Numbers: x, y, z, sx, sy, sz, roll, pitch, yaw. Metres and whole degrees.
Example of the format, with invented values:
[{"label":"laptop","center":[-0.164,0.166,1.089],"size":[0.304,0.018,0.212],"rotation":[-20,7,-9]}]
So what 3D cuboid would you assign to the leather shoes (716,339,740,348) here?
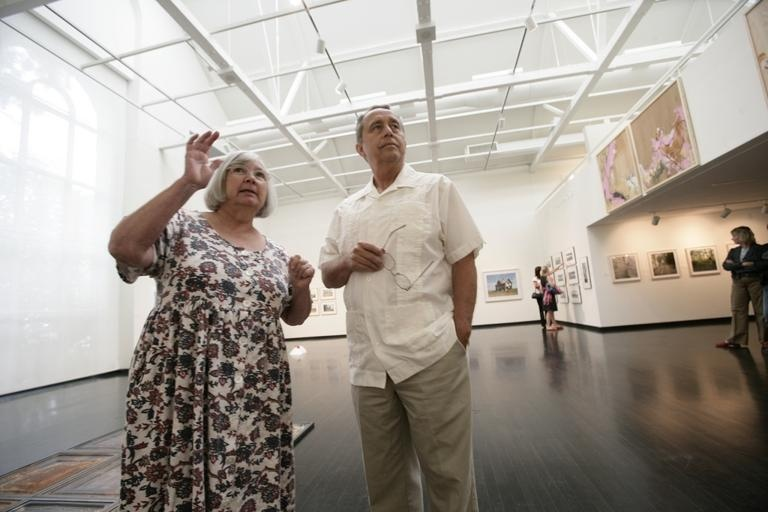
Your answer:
[{"label":"leather shoes","center":[6.509,1.709,8.178],"size":[0.410,0.178,0.145],"rotation":[3,4,45]}]

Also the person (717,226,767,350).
[{"label":"person","center":[6.777,0.590,8.233],"size":[0.659,2.225,0.754],"rotation":[0,6,43]}]

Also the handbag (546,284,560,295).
[{"label":"handbag","center":[5.152,1.044,13.136],"size":[0.233,0.144,0.311],"rotation":[2,10,-35]}]
